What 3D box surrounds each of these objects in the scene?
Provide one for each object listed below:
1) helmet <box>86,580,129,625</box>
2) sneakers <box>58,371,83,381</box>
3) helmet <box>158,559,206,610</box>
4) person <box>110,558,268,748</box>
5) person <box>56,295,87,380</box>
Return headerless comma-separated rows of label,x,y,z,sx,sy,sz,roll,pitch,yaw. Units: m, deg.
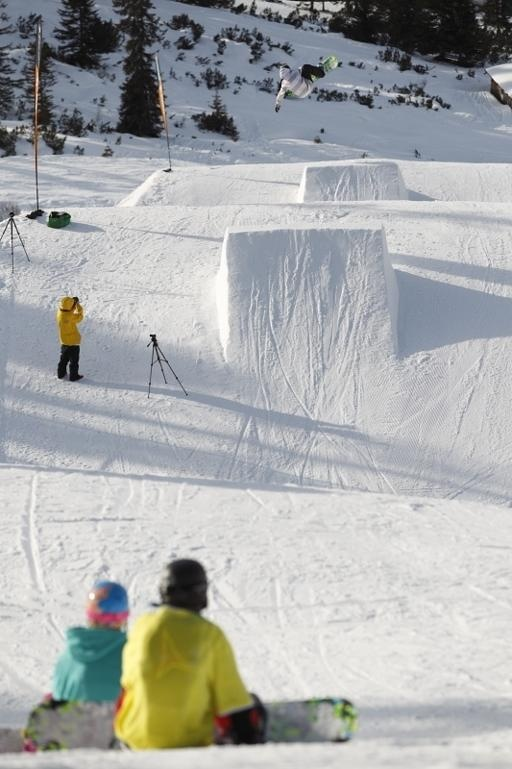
helmet,-0.552,0.819,3.642,0.138,0.168,0.178,6,16,5
sneakers,-1.990,-0.063,10.051,0.286,0.112,0.092,-10,22,-21
helmet,-0.266,0.729,3.354,0.170,0.208,0.223,-8,-13,27
person,-0.246,0.966,3.308,0.500,0.678,0.181,0,12,-8
person,-1.951,-0.462,9.847,0.269,0.935,0.760,-1,12,-12
